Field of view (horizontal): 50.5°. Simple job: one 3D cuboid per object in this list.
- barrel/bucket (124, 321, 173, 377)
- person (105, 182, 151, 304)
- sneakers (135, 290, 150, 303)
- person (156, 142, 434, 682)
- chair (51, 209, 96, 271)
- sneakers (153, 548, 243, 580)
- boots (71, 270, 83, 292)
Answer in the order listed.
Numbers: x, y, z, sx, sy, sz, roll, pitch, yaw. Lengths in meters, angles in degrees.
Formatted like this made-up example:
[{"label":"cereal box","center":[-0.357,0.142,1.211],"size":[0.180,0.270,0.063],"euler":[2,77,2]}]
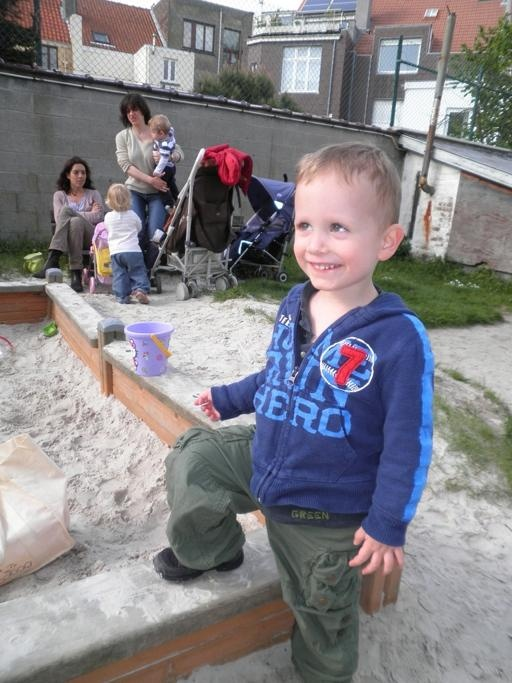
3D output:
[{"label":"barrel/bucket","center":[-0.491,0.040,2.653],"size":[0.258,0.226,0.268],"euler":[0,21,0]},{"label":"person","center":[-1.123,-0.839,4.683],"size":[0.359,0.996,0.455],"euler":[-3,22,-15]},{"label":"sneakers","center":[-1.000,-0.386,4.734],"size":[0.069,0.146,0.066],"euler":[-10,54,2]},{"label":"person","center":[0.086,0.208,1.290],"size":[0.627,1.287,0.434],"euler":[11,23,18]},{"label":"chair","center":[-1.680,-0.942,5.070],"size":[0.354,0.582,0.230],"euler":[12,10,27]},{"label":"sneakers","center":[-0.146,0.539,1.369],"size":[0.164,0.069,0.084],"euler":[5,7,-22]},{"label":"boots","center":[-1.670,-0.566,5.028],"size":[0.098,0.208,0.114],"euler":[-5,23,-20]}]
